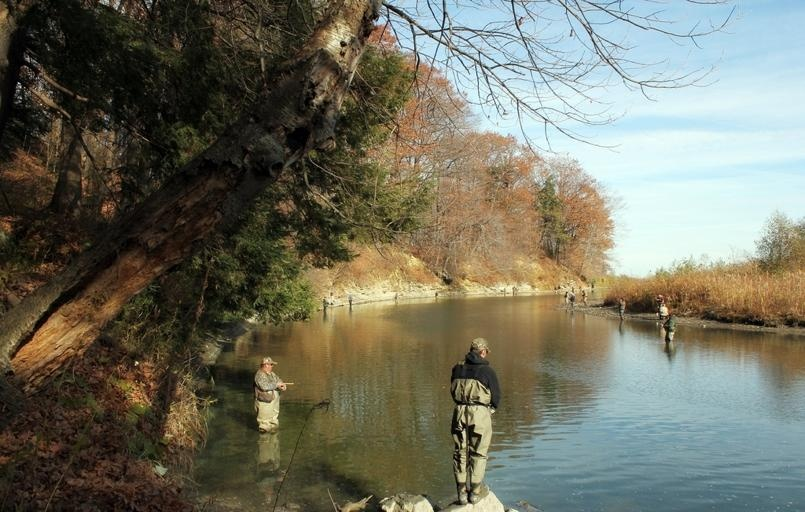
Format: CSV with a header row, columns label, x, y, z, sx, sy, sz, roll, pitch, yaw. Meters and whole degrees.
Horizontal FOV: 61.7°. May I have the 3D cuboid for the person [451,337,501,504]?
label,x,y,z,sx,sy,sz,roll,pitch,yaw
person,1.529,3.501,14.237,0.960,3.400,0.618,1,6,6

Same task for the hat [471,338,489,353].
label,x,y,z,sx,sy,sz,roll,pitch,yaw
hat,1.702,1.928,14.495,0.311,0.222,0.447,7,6,29

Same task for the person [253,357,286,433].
label,x,y,z,sx,sy,sz,roll,pitch,yaw
person,-3.744,3.837,19.024,0.834,1.976,0.946,-1,6,-10

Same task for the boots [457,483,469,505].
label,x,y,z,sx,sy,sz,roll,pitch,yaw
boots,1.278,5.016,14.232,0.195,0.427,0.420,-1,27,5
